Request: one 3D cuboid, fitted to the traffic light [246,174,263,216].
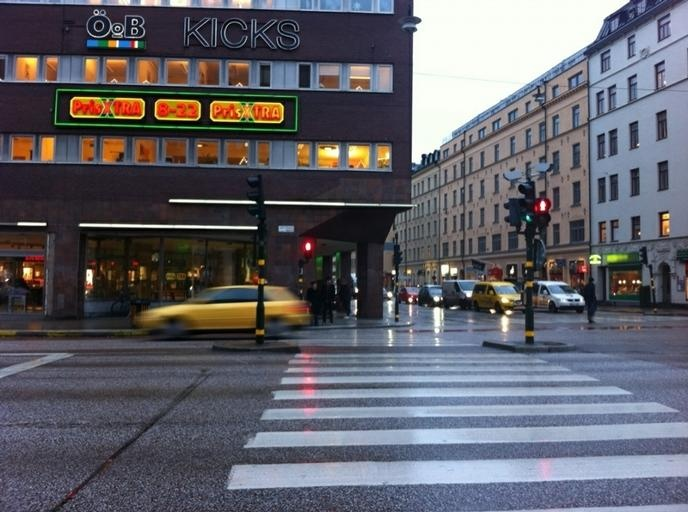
[{"bbox_3d":[-2.565,-1.710,22.910,0.445,1.367,1.708,0,-3,-7],"label":"traffic light"}]

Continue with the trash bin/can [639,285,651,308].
[{"bbox_3d":[17.622,2.446,46.815,0.558,1.271,1.390,-2,-3,22],"label":"trash bin/can"}]

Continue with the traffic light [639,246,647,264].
[{"bbox_3d":[15.826,0.009,42.254,0.290,0.897,0.997,-2,-3,18],"label":"traffic light"}]

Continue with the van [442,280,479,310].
[{"bbox_3d":[7.217,2.408,49.904,1.331,1.103,1.976,3,-9,-23],"label":"van"}]

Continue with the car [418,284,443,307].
[{"bbox_3d":[6.117,2.762,55.116,0.886,0.923,1.684,1,-8,-15],"label":"car"}]

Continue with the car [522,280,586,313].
[{"bbox_3d":[11.611,2.271,43.912,1.562,1.748,3.252,1,-4,-24],"label":"car"}]

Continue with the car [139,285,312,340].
[{"bbox_3d":[-3.907,1.933,26.525,5.171,1.744,2.248,3,-6,-5],"label":"car"}]

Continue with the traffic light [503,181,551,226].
[{"bbox_3d":[5.316,-1.429,23.098,1.095,1.722,1.393,-1,-1,9],"label":"traffic light"}]

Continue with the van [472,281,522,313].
[{"bbox_3d":[8.439,2.258,43.974,1.212,1.068,2.208,1,-6,-21],"label":"van"}]
